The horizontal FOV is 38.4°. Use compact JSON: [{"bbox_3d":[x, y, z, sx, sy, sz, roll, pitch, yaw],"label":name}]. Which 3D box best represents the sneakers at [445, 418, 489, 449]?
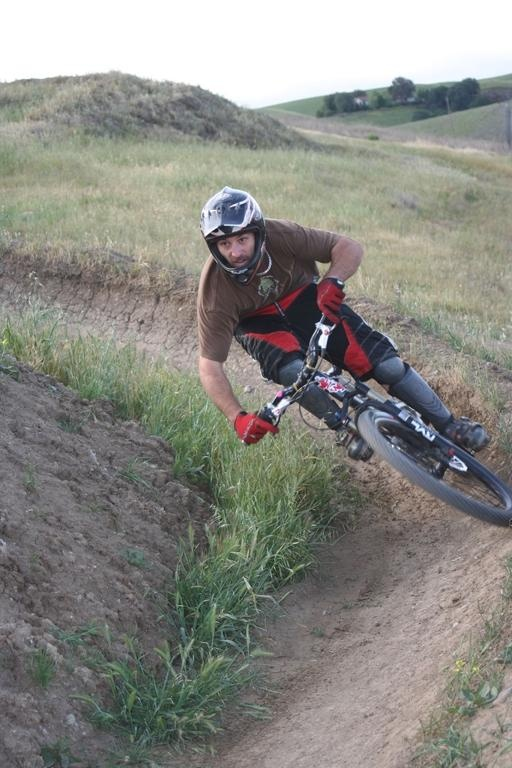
[{"bbox_3d":[1.309,0.317,4.630,0.164,0.132,0.265,12,7,-42],"label":"sneakers"}]

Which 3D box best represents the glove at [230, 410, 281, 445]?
[{"bbox_3d":[-0.011,0.266,4.298,0.193,0.216,0.323,-3,15,-18],"label":"glove"}]

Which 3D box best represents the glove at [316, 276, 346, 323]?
[{"bbox_3d":[0.448,-0.517,4.421,0.082,0.264,0.198,-12,-20,11],"label":"glove"}]

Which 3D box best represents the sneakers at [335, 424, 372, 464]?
[{"bbox_3d":[0.558,0.390,4.353,0.106,0.207,0.208,-41,9,39],"label":"sneakers"}]

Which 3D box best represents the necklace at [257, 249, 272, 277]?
[{"bbox_3d":[0.021,-0.761,4.622,0.120,0.155,0.156,-11,2,-3],"label":"necklace"}]

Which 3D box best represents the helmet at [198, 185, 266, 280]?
[{"bbox_3d":[-0.139,-0.908,4.478,0.378,0.549,0.316,1,14,0],"label":"helmet"}]
